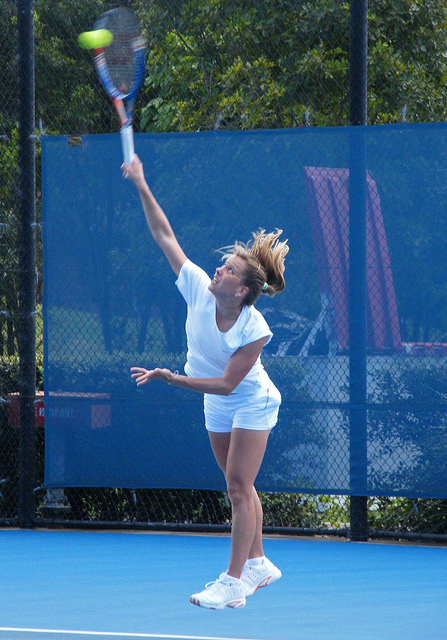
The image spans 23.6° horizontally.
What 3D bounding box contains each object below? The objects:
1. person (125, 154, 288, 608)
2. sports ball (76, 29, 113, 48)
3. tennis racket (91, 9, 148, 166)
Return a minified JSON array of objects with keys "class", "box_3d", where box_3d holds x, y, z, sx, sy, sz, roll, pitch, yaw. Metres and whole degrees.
[{"class":"person","box_3d":[-0.057,0.256,4.840,0.684,1.987,1.168,0,5,3]},{"class":"sports ball","box_3d":[-0.614,-1.358,5.143,0.109,0.100,0.228,2,6,25]},{"class":"tennis racket","box_3d":[-0.480,-1.125,5.069,0.248,0.784,0.642,-1,5,-6]}]
